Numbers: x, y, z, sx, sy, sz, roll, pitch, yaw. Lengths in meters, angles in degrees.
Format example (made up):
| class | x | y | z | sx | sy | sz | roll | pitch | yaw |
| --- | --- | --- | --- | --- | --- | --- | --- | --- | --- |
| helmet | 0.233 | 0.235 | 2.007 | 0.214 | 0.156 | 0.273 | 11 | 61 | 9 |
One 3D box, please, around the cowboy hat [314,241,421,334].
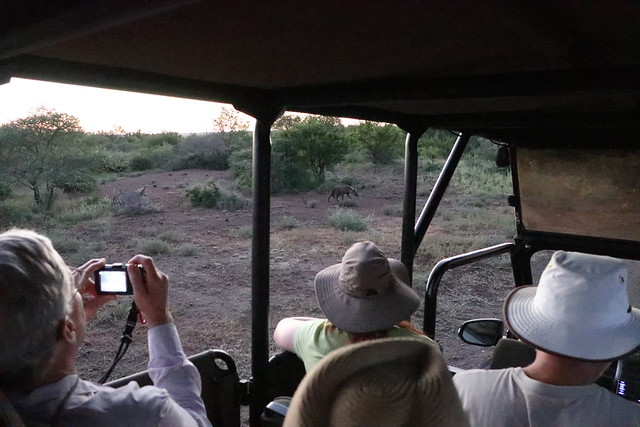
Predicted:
| class | x | y | z | sx | sy | sz | roll | pitch | yaw |
| --- | --- | --- | --- | --- | --- | --- | --- | --- | --- |
| cowboy hat | 0.236 | 0.435 | 2.800 | 0.470 | 0.227 | 0.545 | -5 | 39 | -1 |
